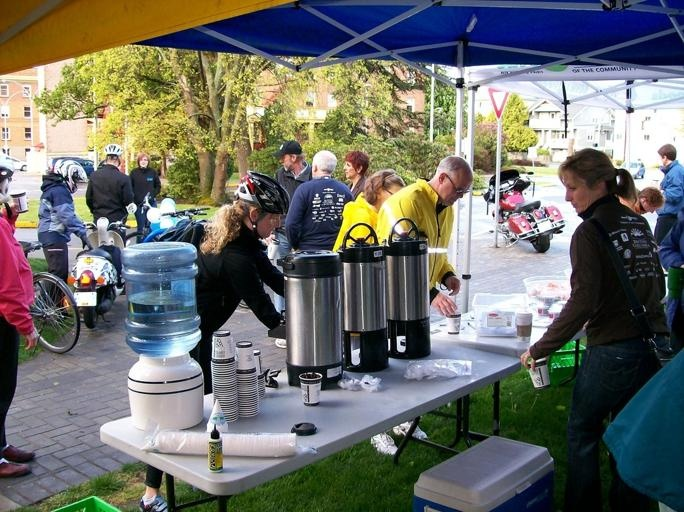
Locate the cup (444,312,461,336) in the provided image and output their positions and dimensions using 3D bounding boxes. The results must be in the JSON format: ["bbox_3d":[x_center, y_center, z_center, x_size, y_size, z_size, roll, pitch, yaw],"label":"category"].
[{"bbox_3d":[0.850,0.500,4.577,0.132,0.174,0.147,0,3,22],"label":"cup"}]

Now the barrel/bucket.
[{"bbox_3d":[-0.942,0.208,3.255,0.498,0.785,0.514,-1,2,0],"label":"barrel/bucket"}]

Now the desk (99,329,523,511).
[{"bbox_3d":[-0.031,0.888,3.461,2.301,0.288,0.812,-10,15,-39],"label":"desk"}]

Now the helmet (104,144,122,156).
[{"bbox_3d":[-3.868,-1.772,10.276,0.197,0.281,0.196,4,32,-14],"label":"helmet"}]

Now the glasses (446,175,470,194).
[{"bbox_3d":[0.913,-0.556,4.835,0.140,0.147,0.042,-5,-17,-44],"label":"glasses"}]

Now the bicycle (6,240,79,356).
[{"bbox_3d":[-3.482,0.504,7.528,1.405,0.895,0.697,29,31,28],"label":"bicycle"}]

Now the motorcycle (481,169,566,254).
[{"bbox_3d":[4.461,-1.320,14.816,1.354,1.650,2.884,-13,25,-9],"label":"motorcycle"}]

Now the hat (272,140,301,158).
[{"bbox_3d":[-0.765,-1.516,8.590,0.329,0.191,0.222,4,15,5],"label":"hat"}]

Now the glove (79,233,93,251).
[{"bbox_3d":[-3.945,-0.226,9.402,0.098,0.340,0.090,-14,44,-18],"label":"glove"}]

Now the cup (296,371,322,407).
[{"bbox_3d":[-0.163,0.720,3.335,0.139,0.149,0.143,-1,4,0],"label":"cup"}]

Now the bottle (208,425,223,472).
[{"bbox_3d":[-0.572,0.863,2.747,0.059,0.176,0.096,-3,11,-13],"label":"bottle"}]

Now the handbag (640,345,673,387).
[{"bbox_3d":[1.902,0.615,3.654,0.222,0.268,0.076,-5,12,-23],"label":"handbag"}]

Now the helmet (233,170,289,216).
[{"bbox_3d":[-0.480,-0.375,3.682,0.289,0.161,0.212,15,17,1],"label":"helmet"}]
